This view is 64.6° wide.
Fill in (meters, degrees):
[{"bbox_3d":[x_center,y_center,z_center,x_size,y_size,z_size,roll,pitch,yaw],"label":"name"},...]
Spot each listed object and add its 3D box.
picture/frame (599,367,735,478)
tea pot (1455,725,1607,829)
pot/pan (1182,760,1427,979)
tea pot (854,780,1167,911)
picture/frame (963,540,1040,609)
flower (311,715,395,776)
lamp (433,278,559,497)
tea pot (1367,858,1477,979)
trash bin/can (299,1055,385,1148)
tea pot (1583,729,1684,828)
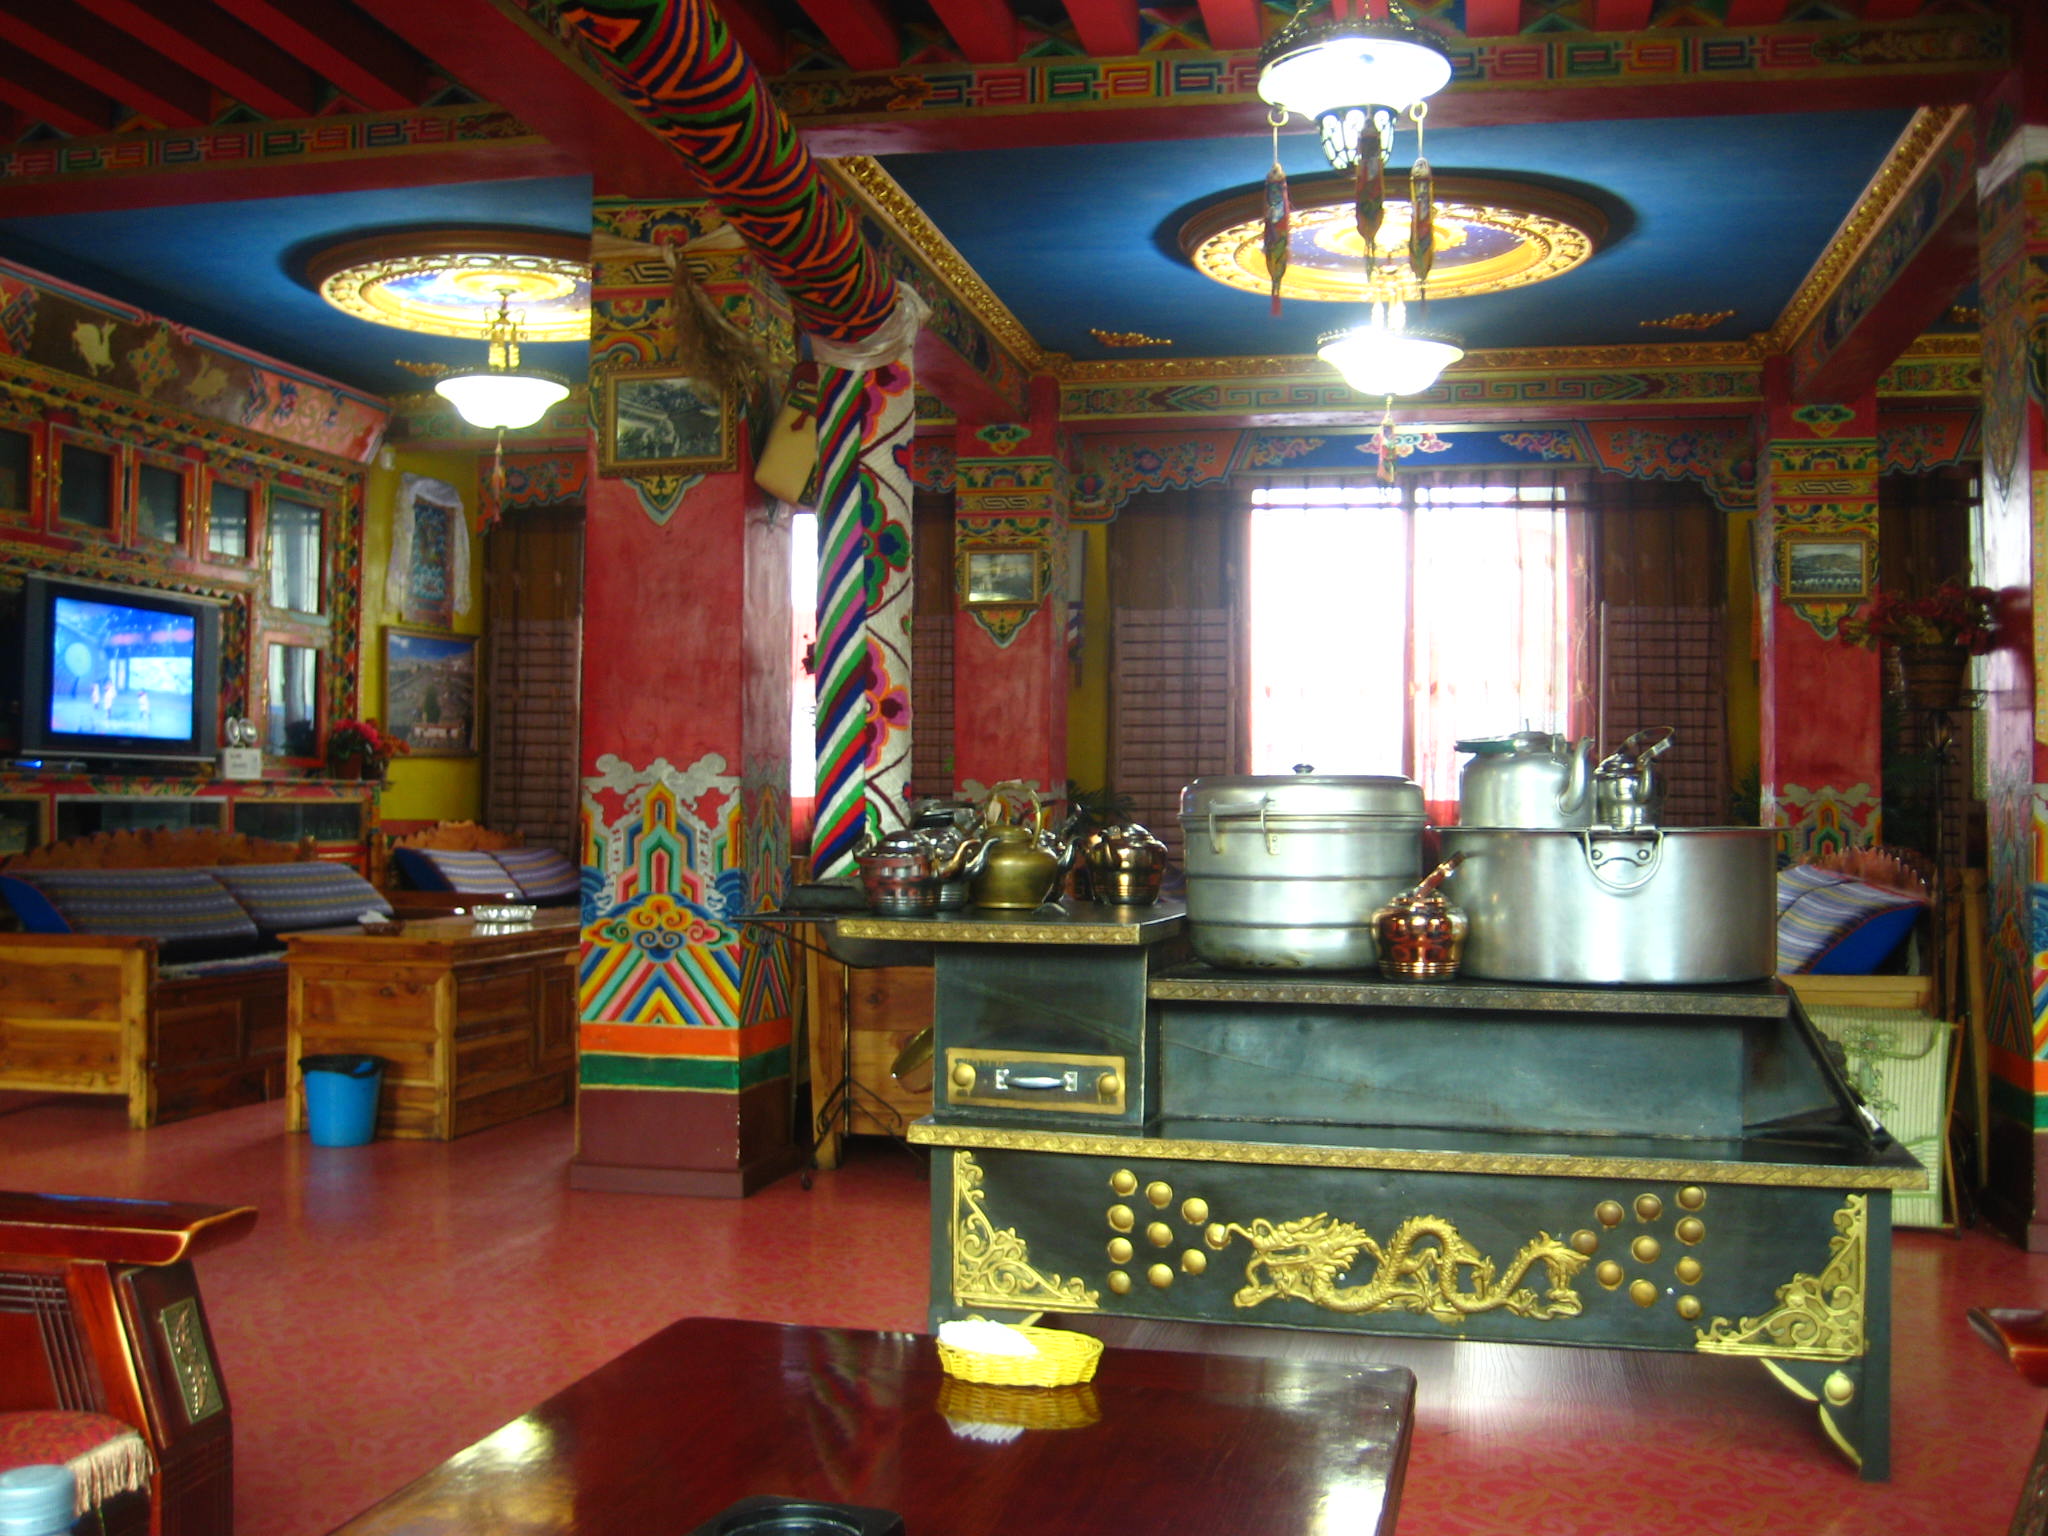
[{"bbox_3d":[-1.346,-1.327,6.214,0.508,0.313,0.035,0,0,9],"label":"picture/frame"},{"bbox_3d":[1.125,0.026,3.606,0.282,0.180,0.224,0,-1,31],"label":"tea pot"},{"bbox_3d":[0.622,0.228,3.605,0.521,0.385,0.495,-1,-5,3],"label":"pot/pan"},{"bbox_3d":[-0.034,0.224,4.046,0.577,0.185,0.419,0,-2,-12],"label":"tea pot"},{"bbox_3d":[-0.120,-1.236,10.081,0.483,0.309,0.060,1,1,6],"label":"picture/frame"},{"bbox_3d":[-4.298,-0.134,10.507,0.419,0.380,0.404,0,1,-37],"label":"flower"},{"bbox_3d":[-2.864,-2.092,8.943,0.767,1.074,0.751,-1,-5,25],"label":"lamp"},{"bbox_3d":[0.860,0.340,3.502,0.275,0.244,0.197,5,-8,-37],"label":"tea pot"},{"bbox_3d":[-2.762,1.353,6.582,0.379,0.327,0.332,-1,0,-24],"label":"trash bin/can"},{"bbox_3d":[1.294,0.027,3.506,0.242,0.213,0.178,0,-2,18],"label":"tea pot"}]
